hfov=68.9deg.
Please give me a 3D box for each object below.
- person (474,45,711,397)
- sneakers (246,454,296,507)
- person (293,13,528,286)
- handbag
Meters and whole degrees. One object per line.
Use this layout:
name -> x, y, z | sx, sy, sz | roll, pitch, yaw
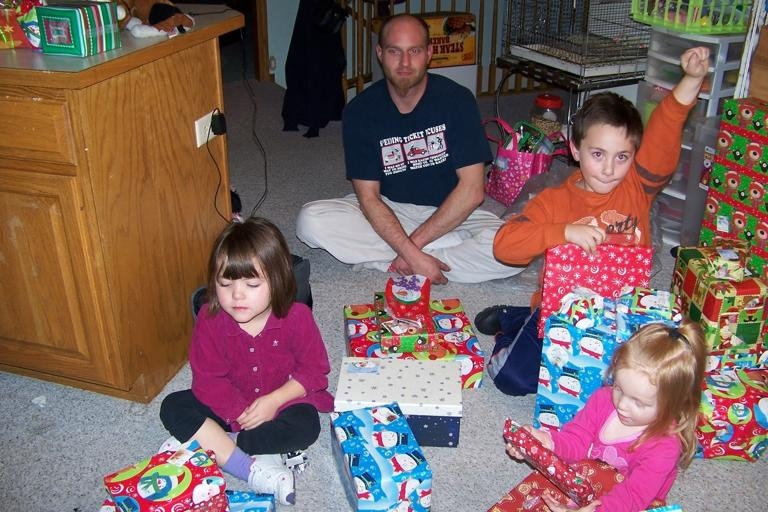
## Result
person -> 0.797, -0.109, 2.158 | 0.840, 1.253, 0.669 | -6, 24, -1
sneakers -> -0.365, 0.692, 1.813 | 0.095, 0.080, 0.221 | 10, 13, -44
person -> 0.186, -0.503, 2.688 | 1.128, 1.202, 0.757 | 11, 35, 22
handbag -> 0.869, -0.443, 3.400 | 0.277, 0.439, 0.347 | 43, 13, 25
